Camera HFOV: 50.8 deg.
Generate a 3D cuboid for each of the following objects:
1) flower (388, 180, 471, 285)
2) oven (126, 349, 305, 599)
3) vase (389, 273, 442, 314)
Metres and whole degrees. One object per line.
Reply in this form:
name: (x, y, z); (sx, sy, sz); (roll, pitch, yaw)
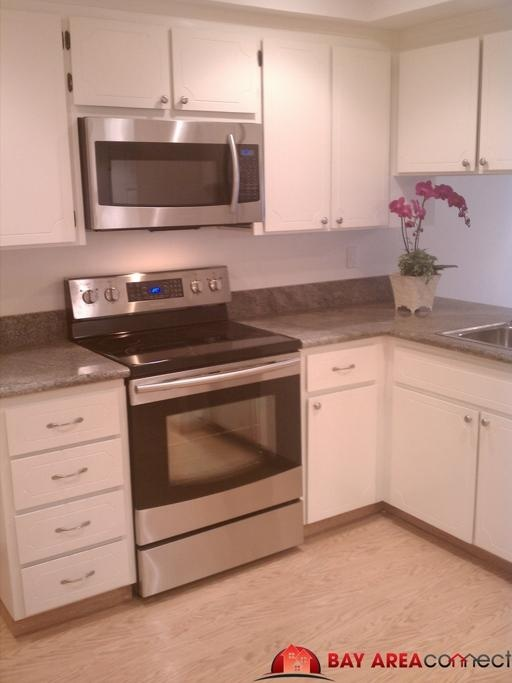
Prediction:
flower: (0.828, -0.556, 2.666); (0.326, 0.496, 0.734); (0, 6, 14)
oven: (-0.133, 0.355, 2.251); (0.760, 1.000, 0.739); (-9, 13, -34)
vase: (0.760, -0.231, 2.565); (0.190, 0.179, 0.234); (-9, 15, -30)
